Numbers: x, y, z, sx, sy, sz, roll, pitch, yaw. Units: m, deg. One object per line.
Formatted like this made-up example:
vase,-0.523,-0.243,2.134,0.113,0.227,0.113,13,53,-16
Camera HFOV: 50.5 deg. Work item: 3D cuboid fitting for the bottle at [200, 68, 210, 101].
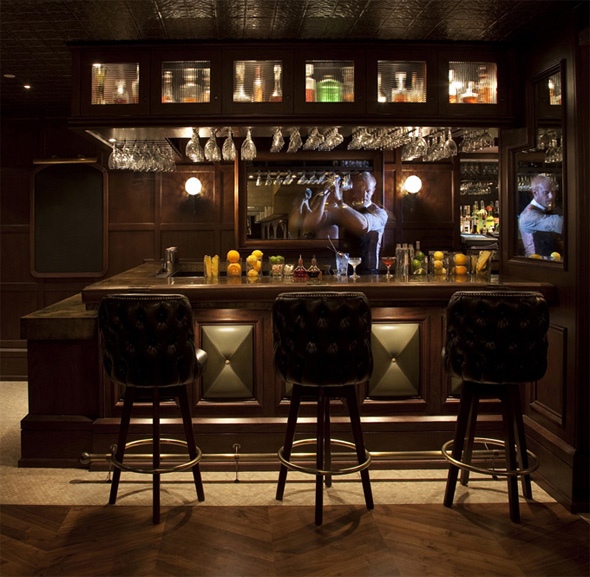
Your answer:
bottle,-0.596,-1.368,4.200,0.060,0.229,0.046,-1,7,-4

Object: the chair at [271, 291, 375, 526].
chair,0.163,0.598,3.332,0.540,1.203,0.605,0,7,-3

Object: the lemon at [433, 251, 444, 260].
lemon,1.085,-0.258,4.691,0.060,0.084,0.065,3,8,7

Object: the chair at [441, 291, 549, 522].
chair,1.061,0.577,3.350,0.462,1.113,0.461,6,6,22

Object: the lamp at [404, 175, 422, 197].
lamp,1.363,-1.188,7.200,0.178,0.241,0.192,0,2,12

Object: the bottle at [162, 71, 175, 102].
bottle,-0.852,-1.358,4.201,0.077,0.218,0.050,-2,7,-13

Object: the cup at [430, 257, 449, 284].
cup,1.071,-0.142,4.575,0.126,0.202,0.059,2,-6,3

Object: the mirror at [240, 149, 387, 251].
mirror,0.105,-0.925,6.583,1.081,0.786,0.055,-1,2,-5

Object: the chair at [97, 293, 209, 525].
chair,-0.777,0.591,3.391,0.482,1.203,0.516,1,6,9

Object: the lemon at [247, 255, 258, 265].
lemon,-0.310,-0.208,4.472,0.053,0.060,0.056,-1,4,-7

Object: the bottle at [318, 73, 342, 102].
bottle,0.236,-1.347,4.203,0.155,0.246,0.170,0,14,0

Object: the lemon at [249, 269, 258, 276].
lemon,-0.287,-0.115,4.406,0.041,0.047,0.044,2,3,28

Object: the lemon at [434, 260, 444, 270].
lemon,1.052,-0.173,4.583,0.046,0.056,0.066,-2,5,10

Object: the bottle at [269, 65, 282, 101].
bottle,-0.122,-1.383,4.198,0.078,0.243,0.048,0,7,-1

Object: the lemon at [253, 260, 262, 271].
lemon,-0.264,-0.162,4.509,0.053,0.073,0.056,-2,4,-20

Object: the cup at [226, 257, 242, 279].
cup,-0.439,-0.149,4.504,0.121,0.140,0.247,3,25,-3

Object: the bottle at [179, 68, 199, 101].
bottle,-0.708,-1.368,4.201,0.124,0.230,0.055,-1,7,-7
